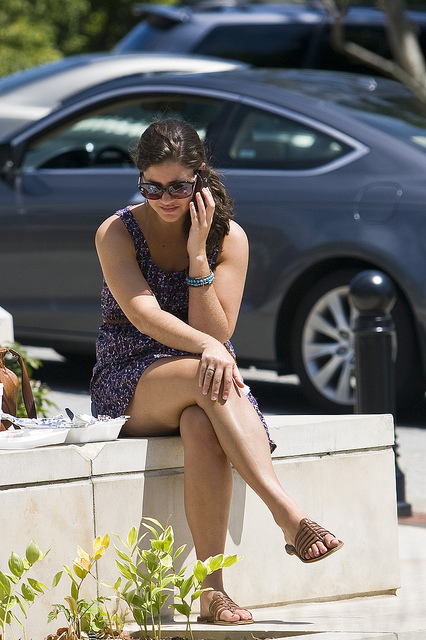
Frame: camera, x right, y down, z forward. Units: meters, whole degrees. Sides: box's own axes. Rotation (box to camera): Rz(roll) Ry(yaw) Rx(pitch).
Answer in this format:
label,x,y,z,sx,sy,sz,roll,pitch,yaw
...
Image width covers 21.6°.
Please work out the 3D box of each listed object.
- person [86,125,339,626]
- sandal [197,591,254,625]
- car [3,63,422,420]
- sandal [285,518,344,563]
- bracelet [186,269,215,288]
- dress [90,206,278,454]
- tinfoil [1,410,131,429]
label,x,y,z,sx,sy,sz,roll,pitch,yaw
person,-0.040,0.127,3.412,0.514,1.498,0.913,1,-6,-16
sandal,0.033,0.793,3.081,0.140,0.053,0.066,-6,-8,38
car,0.335,-0.583,6.224,3.162,1.175,1.420,5,0,19
sandal,0.279,0.605,3.088,0.107,0.106,0.233,-4,-46,23
bracelet,-0.045,-0.130,3.597,0.086,0.057,0.075,-1,-6,5
dress,-0.196,-0.046,3.626,0.485,0.716,0.373,-2,-6,10
tinfoil,-0.439,0.290,3.244,0.355,0.044,0.163,-1,-6,1
